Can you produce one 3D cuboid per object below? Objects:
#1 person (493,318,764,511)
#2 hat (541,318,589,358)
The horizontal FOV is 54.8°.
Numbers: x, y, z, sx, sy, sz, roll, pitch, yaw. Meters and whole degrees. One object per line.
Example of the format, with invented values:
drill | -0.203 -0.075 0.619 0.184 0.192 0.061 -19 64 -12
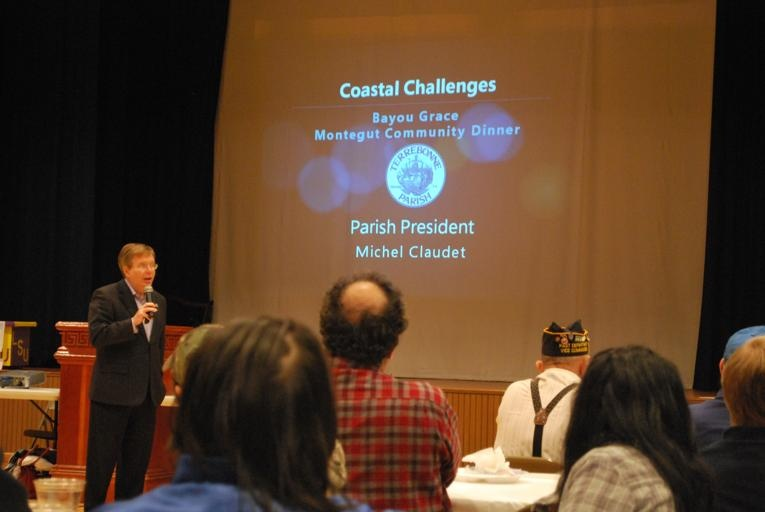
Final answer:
person | 1.559 0.766 4.349 0.972 0.457 1.023 -3 10 1
hat | 1.132 0.507 4.644 0.213 0.175 0.247 0 -5 2
